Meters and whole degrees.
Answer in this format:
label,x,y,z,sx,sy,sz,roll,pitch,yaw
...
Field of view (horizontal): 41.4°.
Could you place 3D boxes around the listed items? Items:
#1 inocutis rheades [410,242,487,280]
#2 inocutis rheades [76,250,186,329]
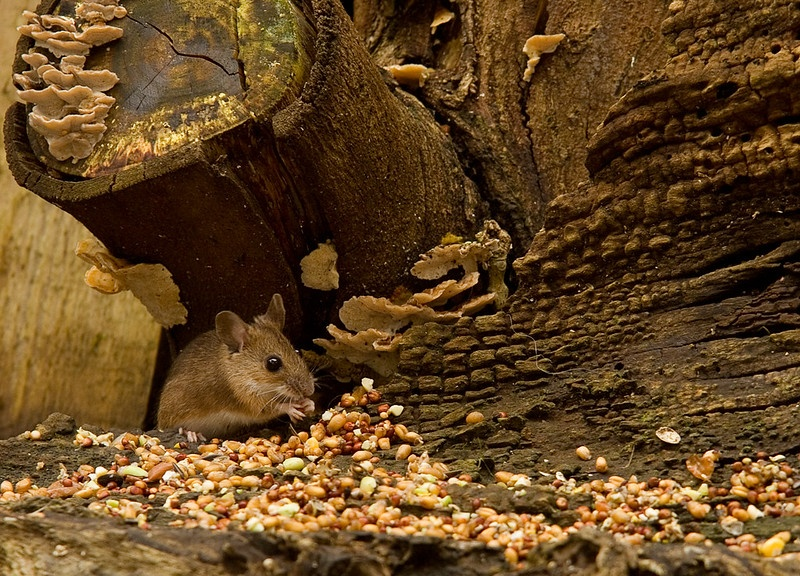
label,x,y,z,sx,sy,sz,roll,pitch,yaw
inocutis rheades,0.365,-0.205,7.670,0.440,0.173,0.287,-22,51,-26
inocutis rheades,-1.921,-0.021,7.741,0.576,0.609,0.246,5,56,37
